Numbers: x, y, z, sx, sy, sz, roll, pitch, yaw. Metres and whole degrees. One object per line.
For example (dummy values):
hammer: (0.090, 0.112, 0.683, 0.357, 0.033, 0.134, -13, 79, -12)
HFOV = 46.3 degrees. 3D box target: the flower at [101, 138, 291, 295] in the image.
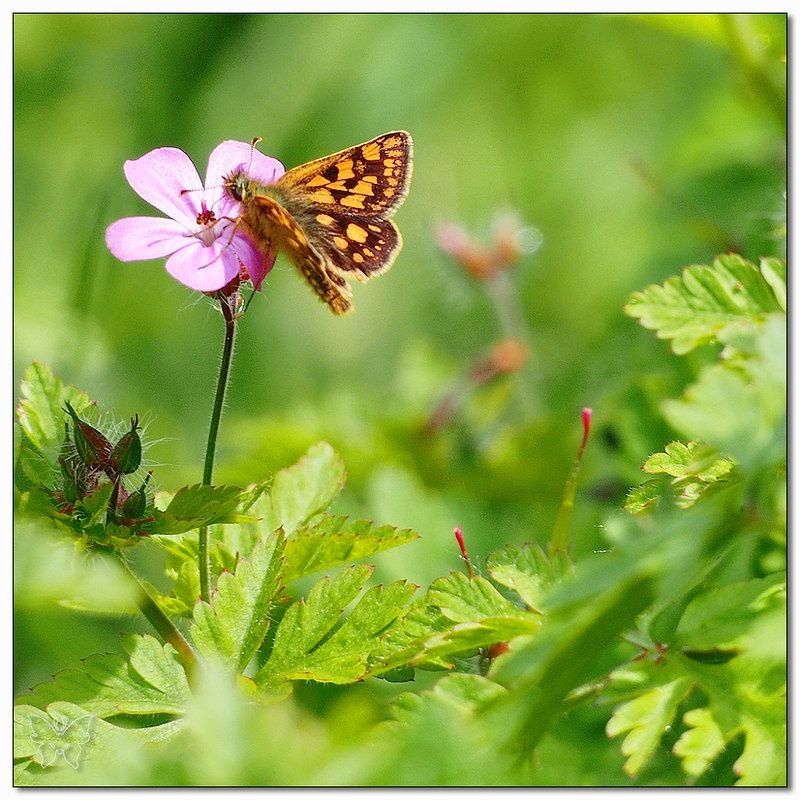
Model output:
flower: (-0.438, -0.390, 2.044, 0.280, 0.104, 0.283, -14, -1, 24)
